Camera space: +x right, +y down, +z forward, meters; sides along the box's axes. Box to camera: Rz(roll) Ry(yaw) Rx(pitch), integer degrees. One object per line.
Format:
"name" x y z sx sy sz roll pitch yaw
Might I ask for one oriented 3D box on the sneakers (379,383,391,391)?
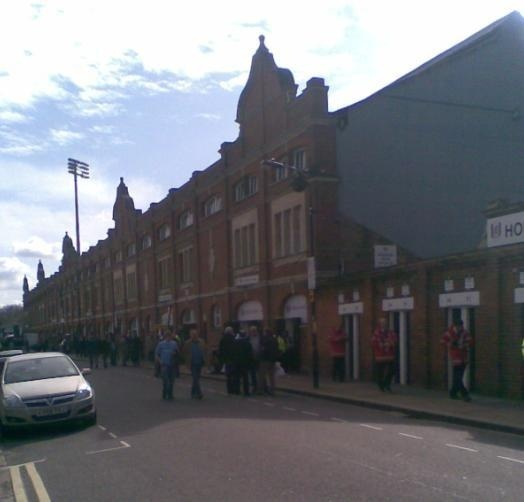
"sneakers" 3.216 3.536 15.956 0.219 0.291 0.147 -1 0 -6

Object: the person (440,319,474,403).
"person" 4.623 2.543 14.494 0.597 1.806 1.580 -3 -6 18

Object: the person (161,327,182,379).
"person" -2.499 2.906 16.327 0.435 1.622 0.385 0 20 -10

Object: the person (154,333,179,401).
"person" -2.495 3.008 16.179 0.559 1.773 0.752 -1 -5 -9

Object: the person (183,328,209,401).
"person" -1.782 3.021 16.435 0.520 1.805 1.233 -1 -6 -5

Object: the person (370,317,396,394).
"person" 3.189 2.729 15.995 0.589 1.859 0.404 -3 -5 14

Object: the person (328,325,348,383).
"person" 2.396 3.222 19.202 0.484 1.752 0.952 -2 -6 5
